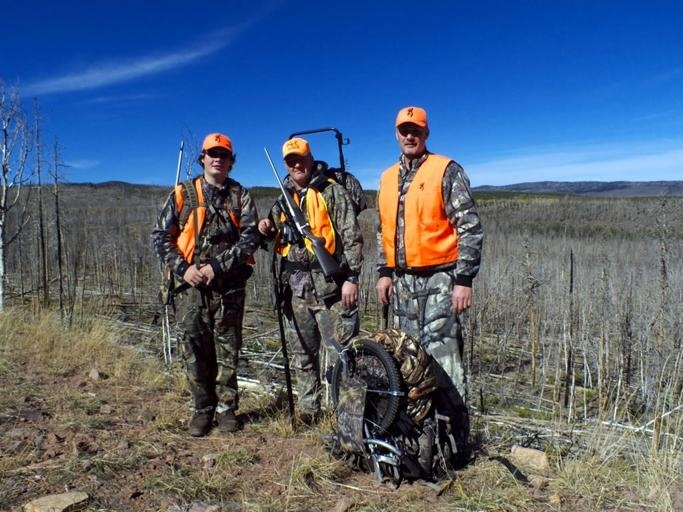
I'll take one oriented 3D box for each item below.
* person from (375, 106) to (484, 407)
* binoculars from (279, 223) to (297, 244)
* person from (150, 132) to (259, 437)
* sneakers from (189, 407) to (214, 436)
[{"bbox_3d":[0.867,-0.040,5.184,1.120,2.893,0.731,6,13,20],"label":"person"},{"bbox_3d":[-0.599,-0.257,5.531,0.154,0.246,0.086,-11,-1,33],"label":"binoculars"},{"bbox_3d":[-1.460,0.320,5.546,1.096,3.243,0.846,-1,12,-11],"label":"person"},{"bbox_3d":[-1.559,1.854,5.531,0.257,0.232,0.206,-3,13,-17],"label":"sneakers"}]
